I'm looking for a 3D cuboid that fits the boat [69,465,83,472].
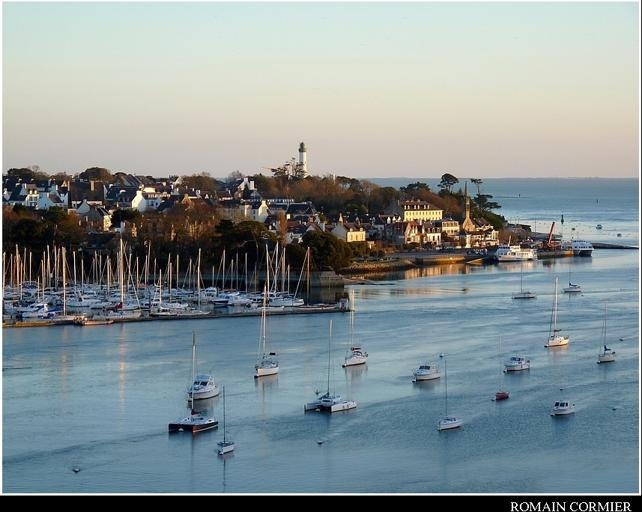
[{"bbox_3d":[-2.998,2.598,16.116,0.148,0.056,0.276,-2,9,-20],"label":"boat"}]
